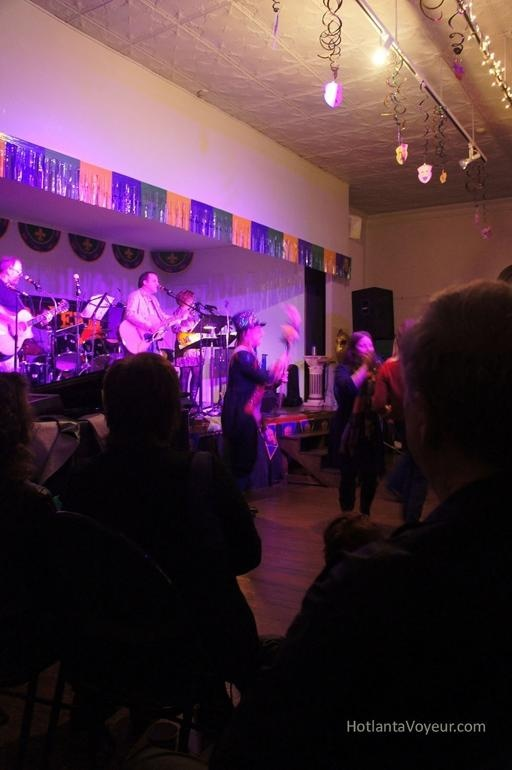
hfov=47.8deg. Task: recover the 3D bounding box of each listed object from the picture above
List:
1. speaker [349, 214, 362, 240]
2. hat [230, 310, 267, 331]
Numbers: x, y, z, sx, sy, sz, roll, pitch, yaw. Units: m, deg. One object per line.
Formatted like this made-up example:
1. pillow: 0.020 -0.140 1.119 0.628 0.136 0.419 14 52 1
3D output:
1. speaker: 1.469 -2.376 8.643 0.148 0.402 0.877 4 7 13
2. hat: -0.019 -0.473 4.498 0.247 0.124 0.174 -12 25 -22
